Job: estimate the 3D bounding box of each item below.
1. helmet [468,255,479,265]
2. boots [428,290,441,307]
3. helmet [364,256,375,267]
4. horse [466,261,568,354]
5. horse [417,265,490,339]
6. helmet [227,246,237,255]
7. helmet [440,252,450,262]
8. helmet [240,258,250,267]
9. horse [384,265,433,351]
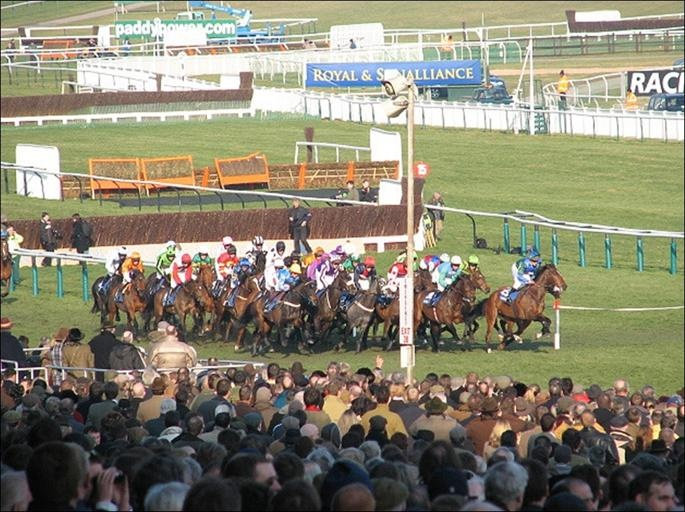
[{"bbox_3d":[3.937,0.044,52.558,0.291,0.180,0.387,3,18,-1],"label":"helmet"},{"bbox_3d":[2.764,1.202,52.474,0.346,0.454,0.145,10,-19,45],"label":"boots"},{"bbox_3d":[0.825,0.082,52.803,0.268,0.237,0.324,5,19,5],"label":"helmet"},{"bbox_3d":[5.204,1.399,53.633,3.051,2.688,2.343,-6,14,-18],"label":"horse"},{"bbox_3d":[3.183,1.479,52.860,1.985,2.258,1.541,-5,12,-21],"label":"horse"},{"bbox_3d":[-3.386,-0.225,53.714,0.233,0.293,0.222,2,39,-2],"label":"helmet"},{"bbox_3d":[3.089,0.002,53.115,0.244,0.299,0.272,9,48,27],"label":"helmet"},{"bbox_3d":[-2.959,0.093,53.269,0.205,0.239,0.213,-7,45,-3],"label":"helmet"},{"bbox_3d":[1.917,1.573,53.364,1.404,2.538,1.252,-4,9,-15],"label":"horse"}]
